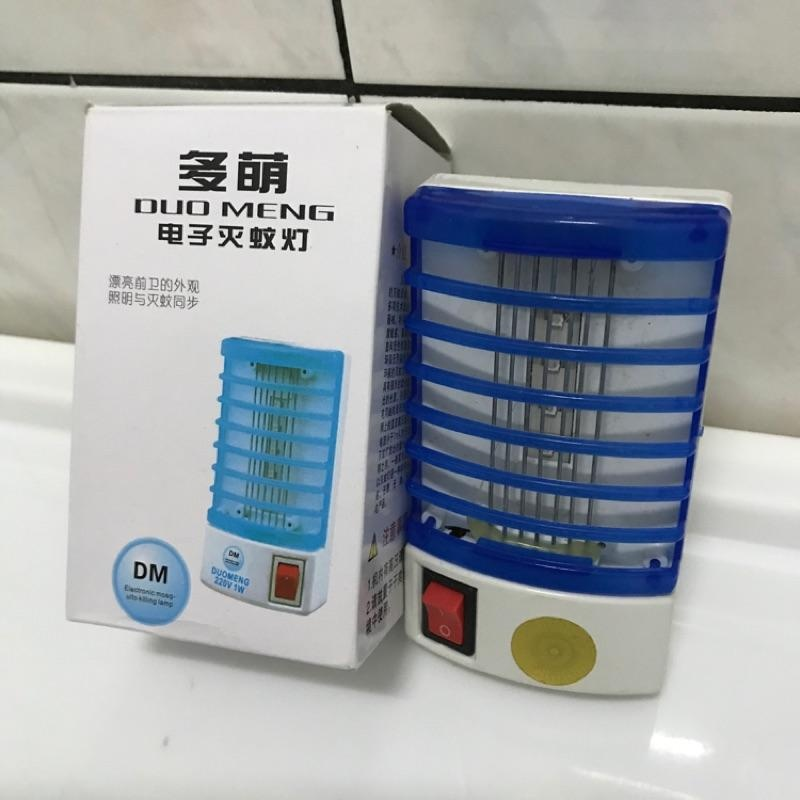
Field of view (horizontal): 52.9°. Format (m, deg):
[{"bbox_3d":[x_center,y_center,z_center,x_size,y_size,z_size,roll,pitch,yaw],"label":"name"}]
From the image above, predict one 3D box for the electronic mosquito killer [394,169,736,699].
[{"bbox_3d":[0.106,0.023,0.565,0.191,0.329,0.154,8,22,19],"label":"electronic mosquito killer"}]
